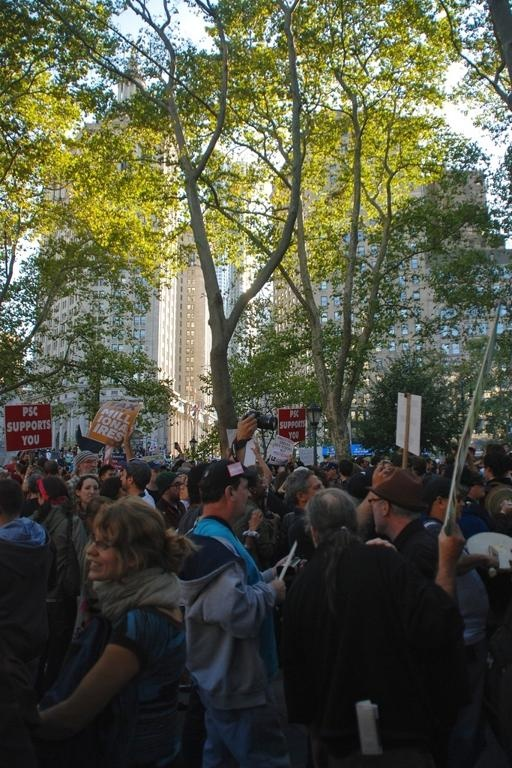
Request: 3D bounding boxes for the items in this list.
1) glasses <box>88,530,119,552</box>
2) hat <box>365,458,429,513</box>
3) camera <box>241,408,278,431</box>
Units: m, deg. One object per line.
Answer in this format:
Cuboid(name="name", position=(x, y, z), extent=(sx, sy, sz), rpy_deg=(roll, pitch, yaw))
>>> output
Cuboid(name="glasses", position=(-0.626, 0.650, 3.124), extent=(0.105, 0.059, 0.075), rpy_deg=(2, -2, -11))
Cuboid(name="hat", position=(0.751, 0.551, 4.060), extent=(0.218, 0.101, 0.269), rpy_deg=(1, 28, -42))
Cuboid(name="camera", position=(0.038, 0.268, 5.934), extent=(0.217, 0.120, 0.191), rpy_deg=(0, 42, 0))
